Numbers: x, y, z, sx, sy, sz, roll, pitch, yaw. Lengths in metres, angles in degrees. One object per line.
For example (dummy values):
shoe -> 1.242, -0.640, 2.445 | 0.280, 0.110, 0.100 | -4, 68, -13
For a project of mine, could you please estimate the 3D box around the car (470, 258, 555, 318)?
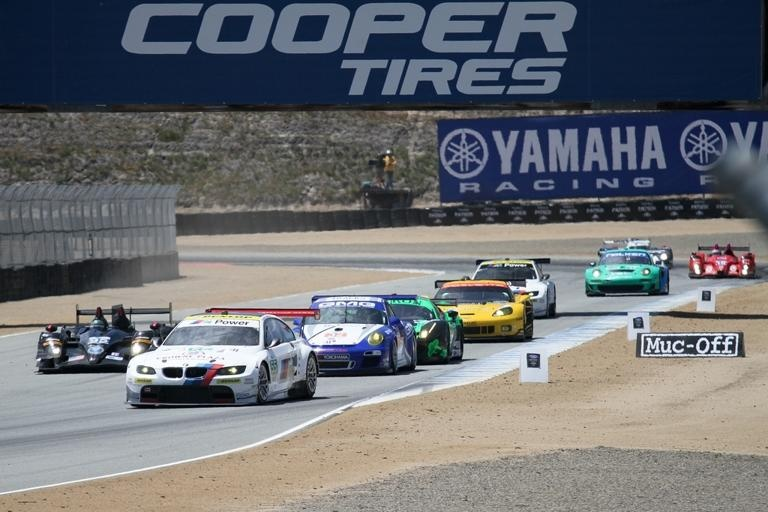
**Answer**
car -> 3.864, 0.885, 55.284 | 2.826, 1.655, 5.069 | -3, 2, 6

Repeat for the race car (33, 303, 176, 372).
race car -> -7.497, 2.125, 48.191 | 2.716, 1.345, 4.280 | 0, 4, -4

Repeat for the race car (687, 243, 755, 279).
race car -> 12.246, 0.215, 65.766 | 2.294, 1.040, 1.279 | -3, -1, 13

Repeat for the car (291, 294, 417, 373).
car -> -0.780, 1.899, 47.778 | 3.021, 1.552, 4.889 | -1, 7, 11

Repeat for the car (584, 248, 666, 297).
car -> 8.080, 0.422, 59.991 | 2.433, 1.210, 4.010 | -1, 7, 10

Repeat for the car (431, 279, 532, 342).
car -> 2.792, 1.414, 51.733 | 2.984, 1.424, 4.728 | 1, 4, 8
